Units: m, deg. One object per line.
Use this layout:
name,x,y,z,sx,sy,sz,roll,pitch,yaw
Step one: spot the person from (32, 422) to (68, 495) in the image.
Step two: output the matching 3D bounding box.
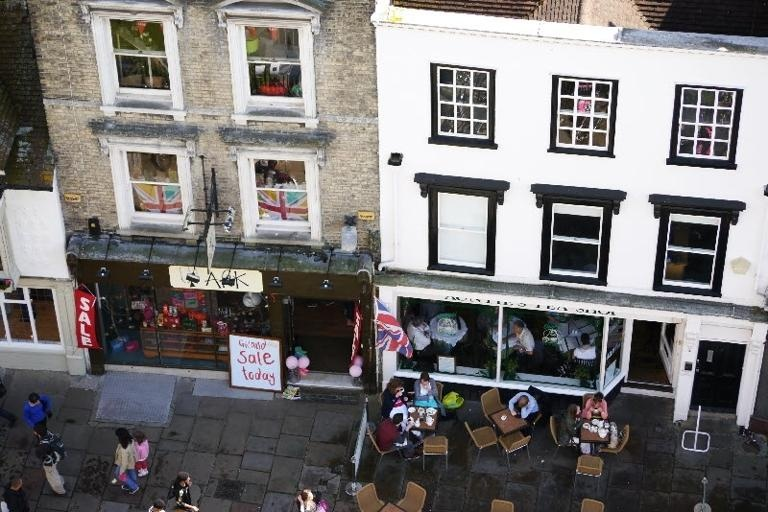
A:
person,-10.208,6.051,28.714,0.844,2.057,1.192,1,-6,15

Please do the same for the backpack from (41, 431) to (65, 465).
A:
backpack,-9.808,5.707,28.580,0.421,0.965,0.657,3,14,16

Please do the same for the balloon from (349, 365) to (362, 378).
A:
balloon,-0.913,3.789,31.621,0.386,0.381,0.445,-35,-8,-8

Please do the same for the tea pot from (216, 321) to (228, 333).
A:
tea pot,-5.366,2.378,32.266,0.376,0.391,0.332,-4,21,-2

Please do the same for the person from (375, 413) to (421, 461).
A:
person,0.401,5.581,29.592,1.238,1.724,0.809,-15,34,-5

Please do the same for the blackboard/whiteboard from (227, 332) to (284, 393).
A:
blackboard/whiteboard,-4.206,3.541,31.704,1.744,1.993,0.200,1,14,8

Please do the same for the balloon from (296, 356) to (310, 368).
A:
balloon,-2.601,3.523,31.796,0.364,0.356,0.417,23,-7,26

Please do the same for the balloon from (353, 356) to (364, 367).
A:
balloon,-0.784,3.438,31.529,0.294,0.290,0.337,-35,8,7

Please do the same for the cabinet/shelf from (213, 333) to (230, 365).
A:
cabinet/shelf,-5.411,3.128,32.332,0.472,1.083,0.157,4,15,20

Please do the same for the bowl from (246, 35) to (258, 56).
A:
bowl,-3.890,-6.242,28.662,0.431,0.447,0.433,1,26,0

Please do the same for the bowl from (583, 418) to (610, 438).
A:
bowl,6.482,5.259,29.393,0.788,0.421,0.462,2,14,12
